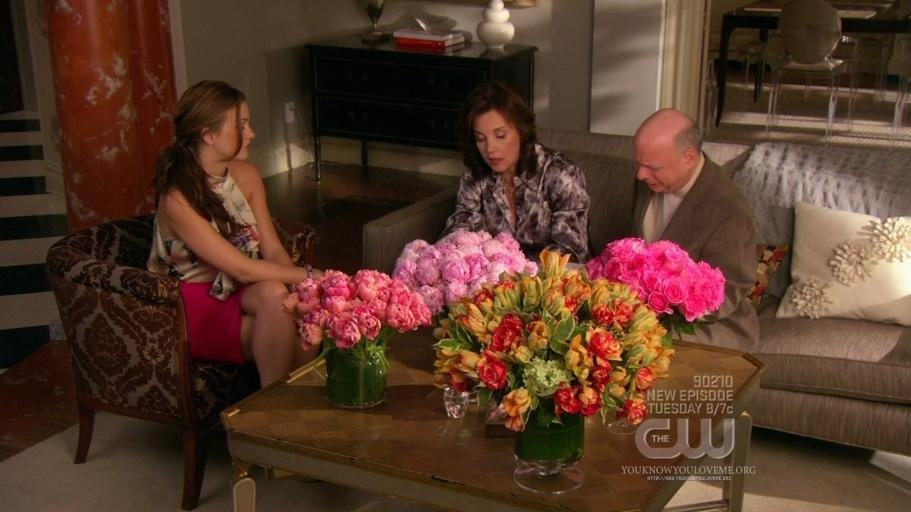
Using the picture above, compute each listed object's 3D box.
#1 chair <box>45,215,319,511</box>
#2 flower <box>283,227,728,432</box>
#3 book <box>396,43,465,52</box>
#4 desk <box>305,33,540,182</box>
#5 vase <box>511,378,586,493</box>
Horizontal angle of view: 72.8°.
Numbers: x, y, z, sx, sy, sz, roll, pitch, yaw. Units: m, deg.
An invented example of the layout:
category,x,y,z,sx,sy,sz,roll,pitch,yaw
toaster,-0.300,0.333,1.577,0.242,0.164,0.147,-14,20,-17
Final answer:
category,x,y,z,sx,sy,sz,roll,pitch,yaw
chair,-1.387,0.402,3.285,1.248,1.153,1.403,8,17,24
flower,0.182,0.213,2.040,1.012,0.451,0.940,-3,6,-9
book,-0.231,-1.769,5.250,0.271,0.034,0.263,6,14,26
desk,-0.286,-1.295,5.867,2.000,1.256,1.058,11,20,21
vase,0.282,0.548,2.032,0.332,0.302,0.309,-3,15,-5
